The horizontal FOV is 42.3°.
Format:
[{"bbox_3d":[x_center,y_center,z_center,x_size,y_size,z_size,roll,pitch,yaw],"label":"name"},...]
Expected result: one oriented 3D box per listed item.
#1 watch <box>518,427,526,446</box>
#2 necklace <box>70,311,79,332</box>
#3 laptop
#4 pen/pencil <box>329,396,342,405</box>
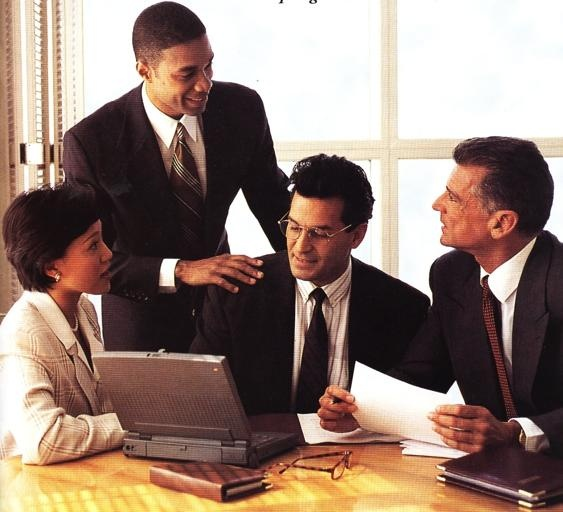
[{"bbox_3d":[0.640,0.481,1.930,0.013,0.034,0.025,-3,2,15],"label":"watch"},{"bbox_3d":[-0.649,0.205,2.272,0.035,0.047,0.013,3,0,-35],"label":"necklace"},{"bbox_3d":[-0.214,0.380,1.943,0.490,0.284,0.508,-1,-4,6],"label":"laptop"},{"bbox_3d":[0.150,0.393,1.982,0.029,0.021,0.047,-1,12,6],"label":"pen/pencil"}]
